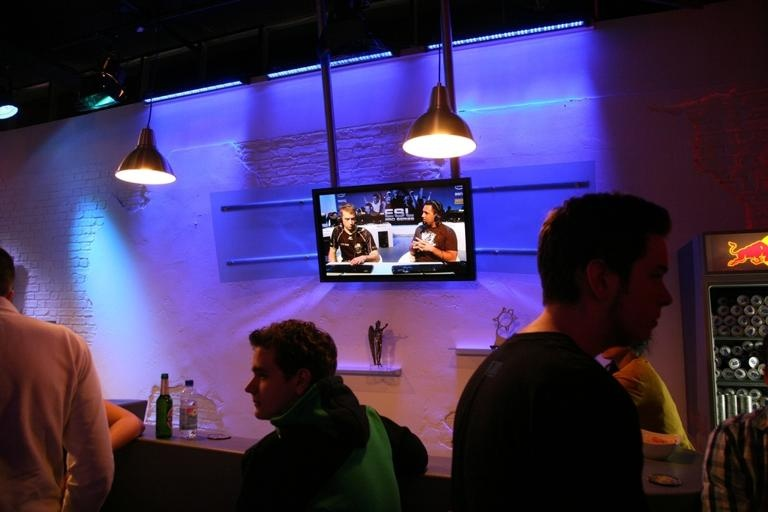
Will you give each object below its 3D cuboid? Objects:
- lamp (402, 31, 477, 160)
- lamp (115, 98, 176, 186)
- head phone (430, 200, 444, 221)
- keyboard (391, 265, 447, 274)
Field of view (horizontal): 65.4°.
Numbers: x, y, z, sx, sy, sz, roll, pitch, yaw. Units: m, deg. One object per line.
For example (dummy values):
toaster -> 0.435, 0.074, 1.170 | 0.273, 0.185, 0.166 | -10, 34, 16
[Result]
lamp -> 0.399, -1.152, 4.520 | 0.514, 0.811, 0.774 | -1, -5, 3
lamp -> -1.947, -1.069, 4.898 | 0.436, 0.688, 0.401 | 3, 13, -8
head phone -> 0.425, -0.367, 4.902 | 0.167, 0.153, 0.128 | 2, 3, 29
keyboard -> 0.299, 0.099, 4.902 | 0.433, 0.066, 0.055 | 0, 6, 16
